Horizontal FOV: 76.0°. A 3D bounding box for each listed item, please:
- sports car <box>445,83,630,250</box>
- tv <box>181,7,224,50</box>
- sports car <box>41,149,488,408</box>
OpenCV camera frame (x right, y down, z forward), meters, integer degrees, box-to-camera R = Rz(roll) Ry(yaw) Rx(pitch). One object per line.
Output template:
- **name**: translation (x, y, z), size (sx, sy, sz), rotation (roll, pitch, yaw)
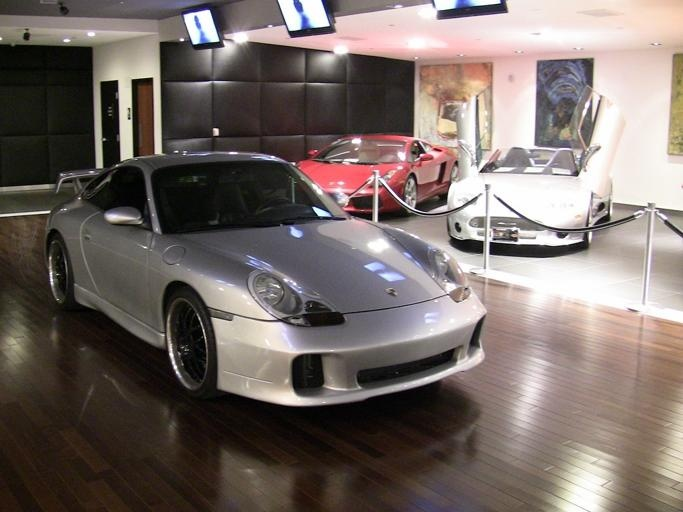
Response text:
- **sports car**: translation (3.429, -1.413, 7.590), size (2.265, 1.891, 3.659), rotation (4, 11, 30)
- **tv**: translation (-3.104, -5.105, 9.845), size (1.076, 0.945, 0.250), rotation (4, 24, 36)
- **sports car**: translation (-0.880, -0.048, 3.224), size (1.547, 0.944, 3.216), rotation (-9, 18, -42)
